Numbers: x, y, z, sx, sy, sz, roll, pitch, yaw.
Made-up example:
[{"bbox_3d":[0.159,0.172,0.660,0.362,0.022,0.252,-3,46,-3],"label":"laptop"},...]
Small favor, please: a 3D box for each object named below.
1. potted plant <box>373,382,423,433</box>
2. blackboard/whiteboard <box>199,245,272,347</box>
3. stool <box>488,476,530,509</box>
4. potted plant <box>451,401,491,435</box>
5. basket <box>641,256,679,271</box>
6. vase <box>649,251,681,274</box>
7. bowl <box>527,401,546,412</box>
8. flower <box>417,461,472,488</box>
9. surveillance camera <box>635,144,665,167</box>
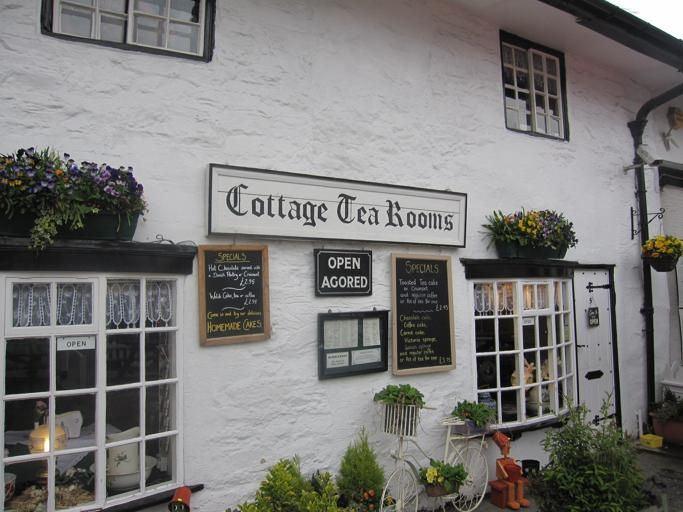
[{"bbox_3d":[0.604,1.646,6.694,0.564,0.609,0.479,1,-10,-2],"label":"potted plant"},{"bbox_3d":[-1.128,0.424,6.216,0.956,1.421,0.092,1,-5,-30],"label":"blackboard/whiteboard"},{"bbox_3d":[2.028,2.846,7.209,0.365,0.270,0.339,5,-12,-32],"label":"stool"},{"bbox_3d":[1.565,1.886,7.110,0.341,0.240,0.349,5,-8,-22],"label":"potted plant"},{"bbox_3d":[4.731,0.113,8.940,0.278,0.208,0.295,1,-8,1],"label":"basket"},{"bbox_3d":[4.730,0.101,8.908,0.303,0.193,0.320,2,-7,-6],"label":"vase"},{"bbox_3d":[2.522,1.967,7.817,0.169,0.077,0.176,2,-12,0],"label":"bowl"},{"bbox_3d":[1.127,2.458,6.758,0.408,0.208,0.417,-1,-3,16],"label":"flower"},{"bbox_3d":[4.583,-1.513,8.983,0.272,0.395,0.141,-37,-35,10],"label":"surveillance camera"}]
